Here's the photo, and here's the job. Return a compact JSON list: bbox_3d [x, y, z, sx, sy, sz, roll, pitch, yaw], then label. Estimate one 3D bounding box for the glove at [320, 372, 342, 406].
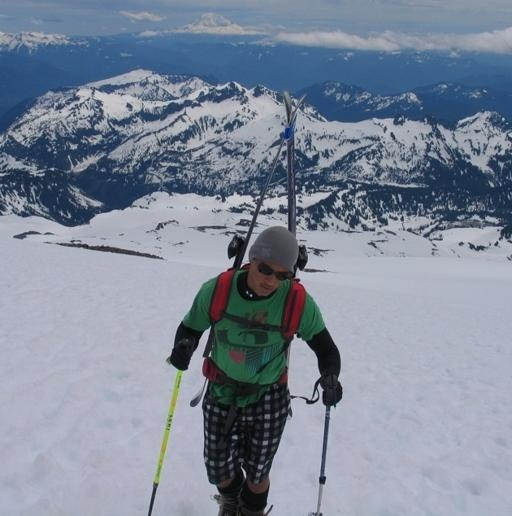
[{"bbox_3d":[1.374,2.573,12.912,0.412,0.600,0.562,4,48,0],"label":"glove"}]
